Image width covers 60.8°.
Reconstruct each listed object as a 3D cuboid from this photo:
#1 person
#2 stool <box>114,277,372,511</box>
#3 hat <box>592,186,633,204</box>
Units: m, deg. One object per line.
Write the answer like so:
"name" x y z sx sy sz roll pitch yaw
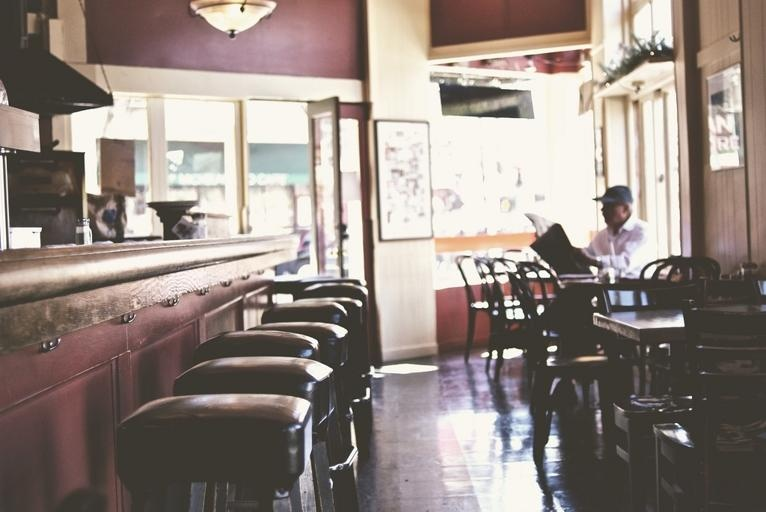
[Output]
"person" 1.948 -0.153 6.130 1.277 1.065 0.726 7 8 2
"stool" -0.451 0.697 2.971 0.905 1.231 0.929 -3 -1 17
"hat" 2.065 -0.531 5.807 0.263 0.146 0.173 7 1 1
